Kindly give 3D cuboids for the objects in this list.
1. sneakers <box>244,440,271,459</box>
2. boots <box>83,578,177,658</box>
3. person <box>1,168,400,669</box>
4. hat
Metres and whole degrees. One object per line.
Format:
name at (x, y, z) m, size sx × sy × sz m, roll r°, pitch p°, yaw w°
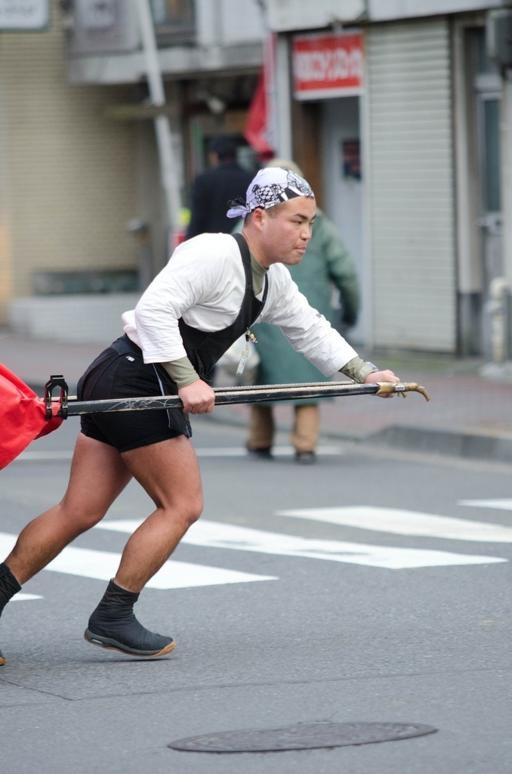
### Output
sneakers at (0.030, 0.535, 8.571) m, size 0.183 × 0.098 × 0.127 m, roll 1°, pitch 0°, yaw 8°
boots at (-0.397, 0.765, 3.384) m, size 0.315 × 0.193 × 0.105 m, roll 17°, pitch -12°, yaw -19°
person at (-0.219, 0.102, 3.311) m, size 1.236 × 1.603 × 0.684 m, roll -1°, pitch 3°, yaw -6°
hat at (0.052, -0.620, 3.311) m, size 0.264 × 0.155 × 0.175 m, roll 0°, pitch 22°, yaw 11°
